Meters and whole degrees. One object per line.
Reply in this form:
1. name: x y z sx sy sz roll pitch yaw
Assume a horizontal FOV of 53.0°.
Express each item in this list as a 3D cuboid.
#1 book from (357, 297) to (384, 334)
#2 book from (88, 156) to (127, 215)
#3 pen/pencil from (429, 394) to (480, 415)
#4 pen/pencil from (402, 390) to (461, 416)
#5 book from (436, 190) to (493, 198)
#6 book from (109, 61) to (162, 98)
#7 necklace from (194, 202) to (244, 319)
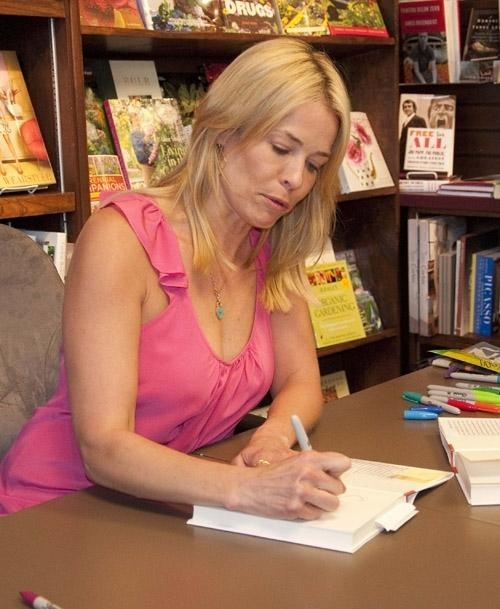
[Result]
1. book: 0.555 0.051 2.319 0.170 0.150 0.045 -15 -3 -43
2. book: -0.442 -0.407 1.627 0.120 0.154 0.094 0 1 25
3. pen/pencil: 0.391 0.190 0.953 0.125 0.028 0.027 2 -13 22
4. pen/pencil: 0.348 0.189 0.960 0.029 0.020 0.141 35 -14 -32
5. book: 0.911 -0.459 2.086 0.086 0.019 0.083 -2 5 -38
6. book: -0.410 -0.787 1.779 0.164 0.128 0.052 -18 13 -32
7. necklace: -0.072 -0.091 1.022 0.126 0.213 0.056 2 1 -40
